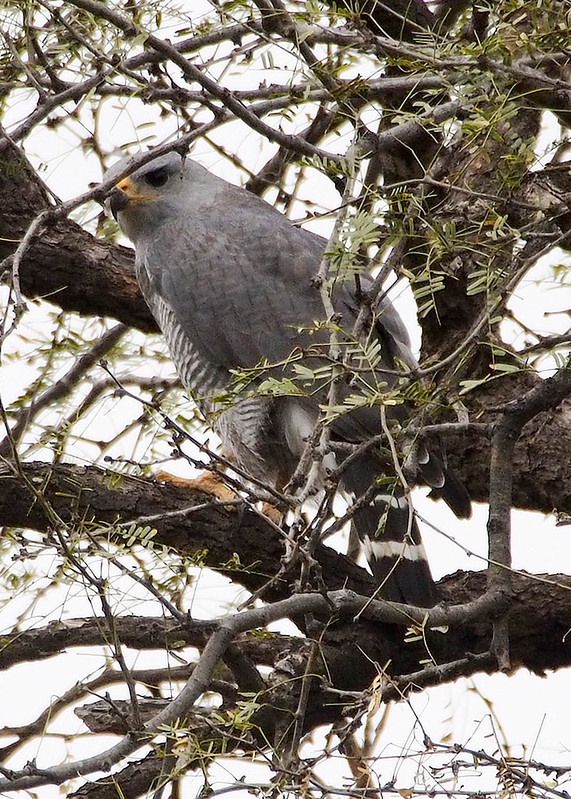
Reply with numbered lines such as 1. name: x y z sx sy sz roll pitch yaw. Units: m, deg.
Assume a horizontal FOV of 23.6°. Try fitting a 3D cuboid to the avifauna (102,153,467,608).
1. avifauna: -0.057 -0.120 4.030 1.164 1.709 0.671 7 -43 -2
